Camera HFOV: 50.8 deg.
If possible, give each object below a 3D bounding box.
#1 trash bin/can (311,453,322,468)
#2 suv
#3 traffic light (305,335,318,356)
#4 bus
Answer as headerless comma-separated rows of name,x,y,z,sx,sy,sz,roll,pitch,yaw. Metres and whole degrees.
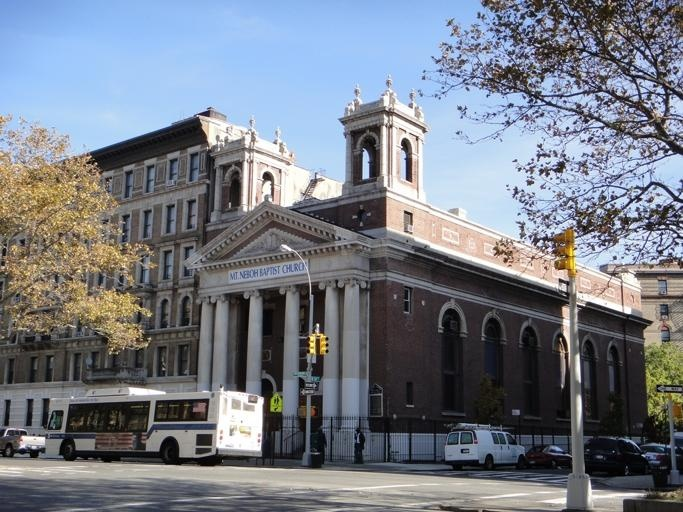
trash bin/can,-1.335,10.606,37.379,0.695,0.729,0.692,-4,-6,16
suv,8.538,11.468,43.682,5.017,2.019,2.704,9,-13,-44
traffic light,-1.521,4.739,38.914,0.582,1.147,1.634,-1,-17,-2
bus,-10.756,9.357,39.552,13.332,4.120,3.427,-12,-20,29
